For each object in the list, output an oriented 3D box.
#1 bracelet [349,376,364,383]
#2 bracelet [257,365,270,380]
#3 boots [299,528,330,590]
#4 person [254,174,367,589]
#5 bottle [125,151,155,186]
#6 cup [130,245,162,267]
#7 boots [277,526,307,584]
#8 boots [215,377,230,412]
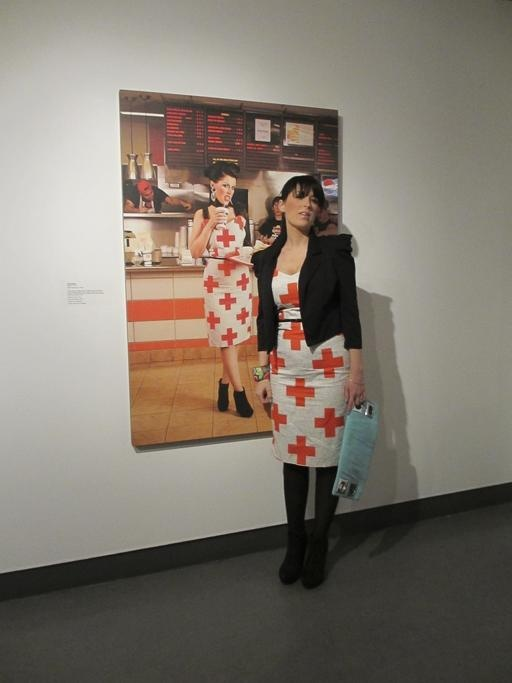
[{"bbox_3d":[0.378,0.143,2.111,0.034,0.027,0.037,-1,5,4],"label":"bracelet"},{"bbox_3d":[0.023,0.132,2.286,0.060,0.051,0.047,1,-6,-40],"label":"bracelet"},{"bbox_3d":[0.242,0.859,2.231,0.086,0.092,0.245,3,43,14],"label":"boots"},{"bbox_3d":[0.202,0.167,2.240,0.388,1.621,0.474,-4,14,-11],"label":"person"},{"bbox_3d":[-0.449,-0.663,2.109,0.133,0.106,0.051,-2,18,-13],"label":"bottle"},{"bbox_3d":[-0.420,-0.325,2.147,0.072,0.056,0.097,-8,15,-40],"label":"cup"},{"bbox_3d":[0.159,0.936,2.354,0.109,0.191,0.284,12,-23,8],"label":"boots"},{"bbox_3d":[-0.139,0.230,2.307,0.048,0.090,0.138,0,12,-2],"label":"boots"}]
